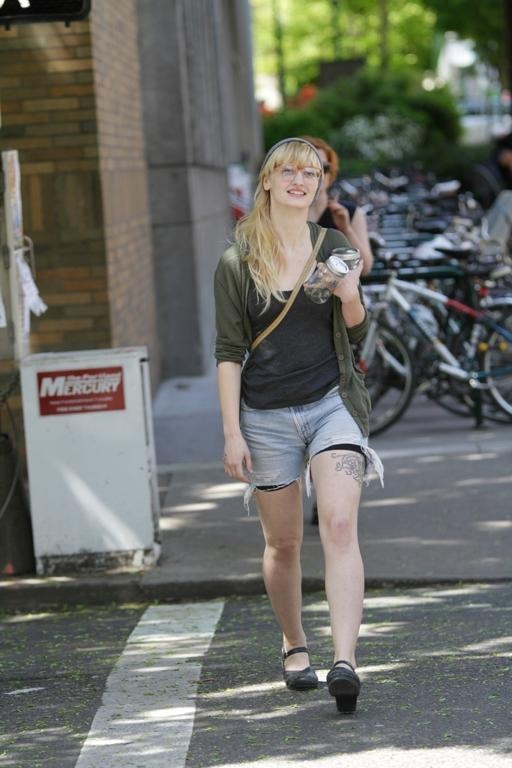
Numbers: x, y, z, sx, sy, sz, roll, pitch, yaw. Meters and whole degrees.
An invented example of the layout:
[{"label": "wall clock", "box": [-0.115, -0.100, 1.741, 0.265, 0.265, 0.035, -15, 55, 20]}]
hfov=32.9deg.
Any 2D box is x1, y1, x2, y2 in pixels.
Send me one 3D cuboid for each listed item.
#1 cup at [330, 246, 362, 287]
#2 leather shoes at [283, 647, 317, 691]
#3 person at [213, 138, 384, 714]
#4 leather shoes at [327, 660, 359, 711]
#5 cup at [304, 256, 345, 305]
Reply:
[{"label": "cup", "box": [0.287, -0.354, 2.639, 0.107, 0.078, 0.097, -3, 26, 1]}, {"label": "leather shoes", "box": [0.143, 0.933, 2.845, 0.074, 0.077, 0.199, 0, -8, -4]}, {"label": "person", "box": [0.117, 0.128, 2.668, 0.484, 1.759, 0.686, -5, 10, 11]}, {"label": "leather shoes", "box": [0.243, 0.844, 2.449, 0.077, 0.190, 0.073, -1, 54, 2]}, {"label": "cup", "box": [0.211, -0.317, 2.637, 0.079, 0.146, 0.149, -15, 13, -41]}]
